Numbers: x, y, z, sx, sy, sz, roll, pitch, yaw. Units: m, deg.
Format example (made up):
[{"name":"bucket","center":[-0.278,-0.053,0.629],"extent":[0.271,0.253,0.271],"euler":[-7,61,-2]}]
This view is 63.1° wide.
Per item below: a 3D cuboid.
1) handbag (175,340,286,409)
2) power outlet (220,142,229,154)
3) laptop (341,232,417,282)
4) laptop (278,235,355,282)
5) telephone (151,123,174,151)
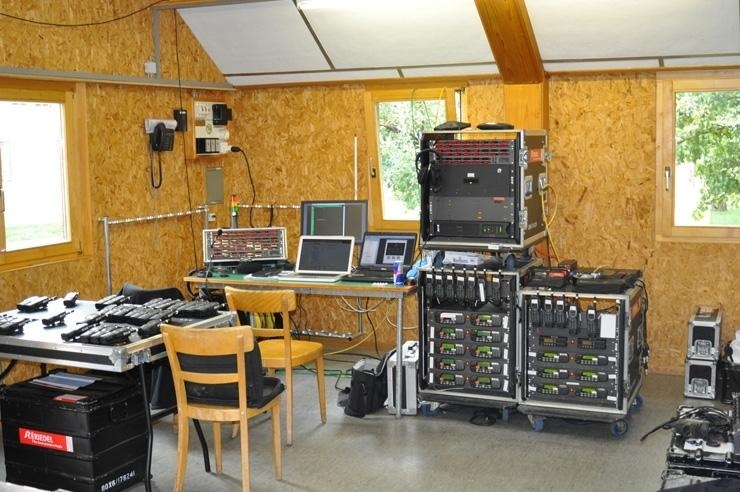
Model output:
[{"name":"handbag","center":[-0.948,0.885,4.081],"extent":[0.534,0.384,0.467],"euler":[0,7,12]},{"name":"power outlet","center":[-1.664,-1.152,7.016],"extent":[0.097,0.140,0.230],"euler":[-2,12,-2]},{"name":"laptop","center":[0.155,0.071,5.593],"extent":[0.539,0.319,0.487],"euler":[2,8,24]},{"name":"laptop","center":[-0.448,0.036,5.725],"extent":[0.565,0.333,0.469],"euler":[1,4,23]},{"name":"telephone","center":[-2.155,-1.134,6.276],"extent":[0.266,0.303,0.136],"euler":[-8,14,-29]}]
